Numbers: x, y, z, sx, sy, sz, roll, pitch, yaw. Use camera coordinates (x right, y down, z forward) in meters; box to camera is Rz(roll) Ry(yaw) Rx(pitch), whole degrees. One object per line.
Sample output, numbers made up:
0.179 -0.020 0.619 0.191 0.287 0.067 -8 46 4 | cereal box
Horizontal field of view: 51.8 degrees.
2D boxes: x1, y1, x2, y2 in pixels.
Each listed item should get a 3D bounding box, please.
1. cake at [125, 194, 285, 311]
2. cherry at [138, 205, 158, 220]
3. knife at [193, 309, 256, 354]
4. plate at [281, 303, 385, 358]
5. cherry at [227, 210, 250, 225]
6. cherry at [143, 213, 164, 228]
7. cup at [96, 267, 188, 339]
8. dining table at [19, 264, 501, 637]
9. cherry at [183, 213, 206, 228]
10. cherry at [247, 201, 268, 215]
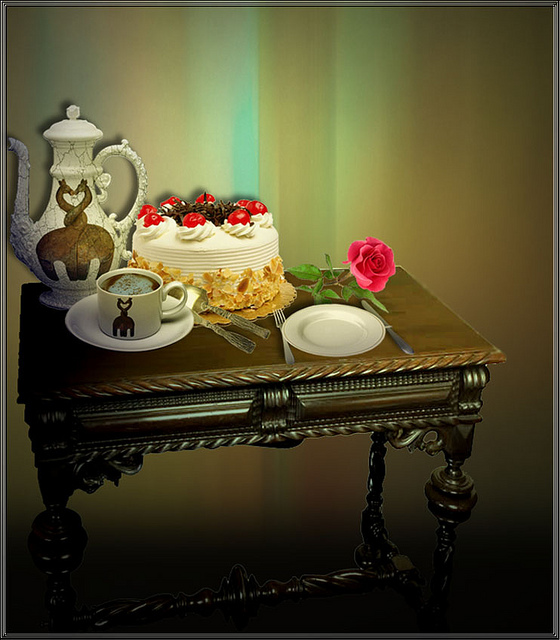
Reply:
-0.150 -0.140 1.153 0.311 0.167 0.306 8 17 30 | cake
-0.261 -0.216 1.132 0.032 0.013 0.038 -33 39 -24 | cherry
-0.108 0.012 0.978 0.036 0.011 0.239 -27 31 -21 | knife
0.090 0.016 0.983 0.174 0.016 0.159 3 33 6 | plate
-0.076 -0.189 1.063 0.034 0.015 0.032 -26 38 -14 | cherry
-0.236 -0.185 1.063 0.029 0.010 0.028 18 48 22 | cherry
-0.231 -0.024 0.927 0.157 0.079 0.104 -1 28 -14 | cup
-0.044 0.223 1.029 0.835 0.595 0.487 -4 26 -11 | dining table
-0.154 -0.178 1.029 0.034 0.016 0.031 1 25 5 | cherry
-0.047 -0.229 1.175 0.034 0.017 0.031 18 48 -19 | cherry
